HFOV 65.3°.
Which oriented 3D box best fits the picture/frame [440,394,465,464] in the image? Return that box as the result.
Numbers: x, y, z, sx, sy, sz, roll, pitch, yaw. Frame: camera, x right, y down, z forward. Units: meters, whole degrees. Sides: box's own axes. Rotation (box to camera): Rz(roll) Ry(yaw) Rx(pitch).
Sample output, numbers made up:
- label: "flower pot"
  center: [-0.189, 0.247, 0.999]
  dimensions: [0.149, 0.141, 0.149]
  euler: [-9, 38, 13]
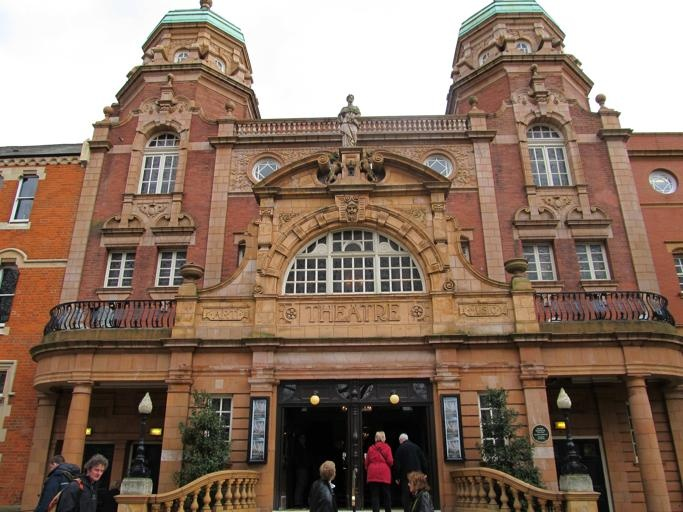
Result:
- label: "picture/frame"
  center: [3.690, 5.669, 17.622]
  dimensions: [0.634, 2.110, 0.381]
  euler: [-5, -29, 7]

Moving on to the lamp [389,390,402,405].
- label: "lamp"
  center: [1.856, 4.845, 18.207]
  dimensions: [0.406, 0.384, 0.347]
  euler: [-22, -36, 2]

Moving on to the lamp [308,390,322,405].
- label: "lamp"
  center: [-0.899, 4.885, 18.355]
  dimensions: [0.348, 0.446, 0.424]
  euler: [1, -26, -4]
